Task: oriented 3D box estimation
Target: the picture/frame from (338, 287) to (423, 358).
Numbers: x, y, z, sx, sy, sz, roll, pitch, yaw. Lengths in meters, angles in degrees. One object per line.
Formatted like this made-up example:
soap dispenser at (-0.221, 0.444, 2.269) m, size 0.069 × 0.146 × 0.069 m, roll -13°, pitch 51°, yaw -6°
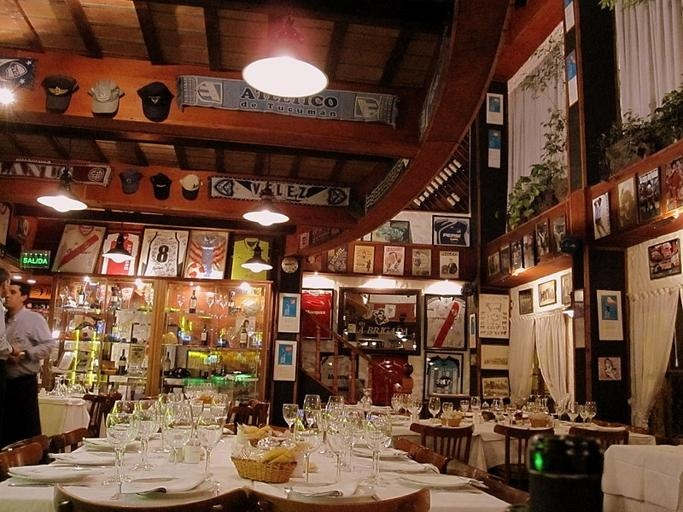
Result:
picture/frame at (0.692, 1.324, 10.260) m, size 1.303 × 1.051 × 0.132 m, roll 1°, pitch -5°, yaw -3°

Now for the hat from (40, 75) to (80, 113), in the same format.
hat at (-2.414, -1.460, 4.536) m, size 0.252 × 0.388 × 0.130 m, roll 2°, pitch -29°, yaw -18°

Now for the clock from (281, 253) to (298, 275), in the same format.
clock at (-0.924, 0.135, 9.395) m, size 0.354 × 0.369 × 0.048 m, roll 2°, pitch -10°, yaw -8°

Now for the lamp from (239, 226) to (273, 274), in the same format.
lamp at (-1.362, -0.095, 8.314) m, size 0.523 × 0.590 × 0.539 m, roll -4°, pitch -12°, yaw 26°

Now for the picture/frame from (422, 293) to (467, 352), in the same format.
picture/frame at (1.984, 1.349, 10.447) m, size 1.083 × 1.401 × 0.110 m, roll 1°, pitch -3°, yaw -3°

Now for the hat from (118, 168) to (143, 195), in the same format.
hat at (-2.761, -0.998, 6.893) m, size 0.226 × 0.367 × 0.119 m, roll -1°, pitch -4°, yaw -4°

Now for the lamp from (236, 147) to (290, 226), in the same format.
lamp at (-0.837, -0.662, 6.331) m, size 0.601 × 0.679 × 0.619 m, roll 11°, pitch -24°, yaw -32°

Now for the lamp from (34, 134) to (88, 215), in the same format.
lamp at (-3.093, -0.899, 5.983) m, size 0.391 × 0.731 × 0.418 m, roll 12°, pitch 19°, yaw 8°

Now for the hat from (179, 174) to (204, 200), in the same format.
hat at (-1.992, -0.918, 6.971) m, size 0.273 × 0.331 × 0.106 m, roll -4°, pitch 8°, yaw -13°

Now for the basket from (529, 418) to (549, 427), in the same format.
basket at (2.062, 1.729, 5.467) m, size 0.124 × 0.047 × 0.108 m, roll 1°, pitch -5°, yaw -13°

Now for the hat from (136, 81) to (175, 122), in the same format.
hat at (-1.599, -1.343, 4.544) m, size 0.233 × 0.376 × 0.133 m, roll -2°, pitch 6°, yaw -1°

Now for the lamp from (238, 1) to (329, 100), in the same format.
lamp at (-0.263, -1.415, 3.428) m, size 0.546 × 0.579 × 0.540 m, roll -16°, pitch 22°, yaw -23°
